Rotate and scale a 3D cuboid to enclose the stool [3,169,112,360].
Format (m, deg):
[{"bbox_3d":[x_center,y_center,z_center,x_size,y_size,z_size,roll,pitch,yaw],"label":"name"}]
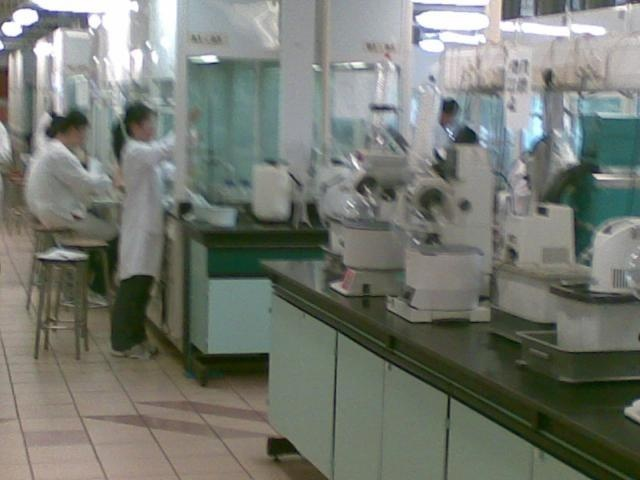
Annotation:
[{"bbox_3d":[-2.128,0.214,5.626,0.432,0.760,1.442,7,13,-15],"label":"stool"}]

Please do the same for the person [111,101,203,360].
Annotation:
[{"bbox_3d":[-1.267,-0.083,4.896,0.461,1.792,0.531,0,9,-11],"label":"person"}]
